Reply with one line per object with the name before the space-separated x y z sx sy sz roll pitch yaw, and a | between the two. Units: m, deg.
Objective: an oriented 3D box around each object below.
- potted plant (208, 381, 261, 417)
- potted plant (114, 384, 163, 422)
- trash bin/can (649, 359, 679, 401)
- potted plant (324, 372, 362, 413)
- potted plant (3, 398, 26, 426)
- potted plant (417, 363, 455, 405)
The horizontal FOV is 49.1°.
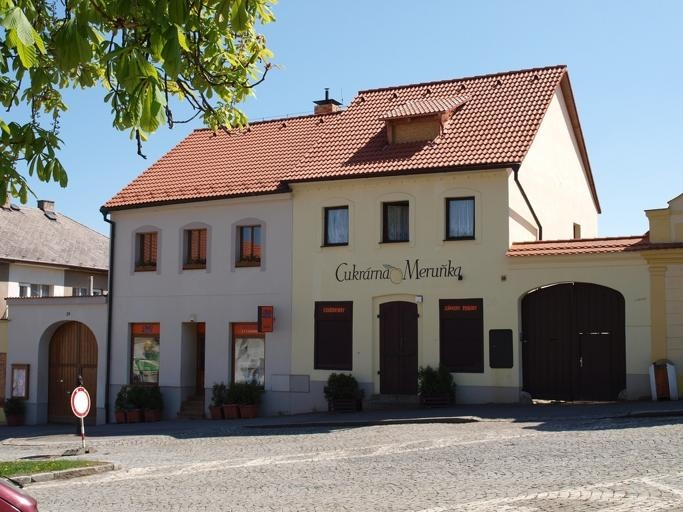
potted plant | -3.937 5.481 28.289 1.434 1.160 1.405 -3 -12 16
potted plant | -8.053 5.967 30.029 1.476 1.326 1.489 -1 -6 5
trash bin/can | 9.586 3.728 22.196 0.751 1.058 0.445 -4 -11 14
potted plant | -0.020 4.768 26.369 1.076 1.266 1.146 1 -10 -22
potted plant | -14.501 6.876 33.320 1.009 1.322 0.985 -3 -5 39
potted plant | 3.153 4.259 25.002 1.081 1.268 1.161 0 -2 3
